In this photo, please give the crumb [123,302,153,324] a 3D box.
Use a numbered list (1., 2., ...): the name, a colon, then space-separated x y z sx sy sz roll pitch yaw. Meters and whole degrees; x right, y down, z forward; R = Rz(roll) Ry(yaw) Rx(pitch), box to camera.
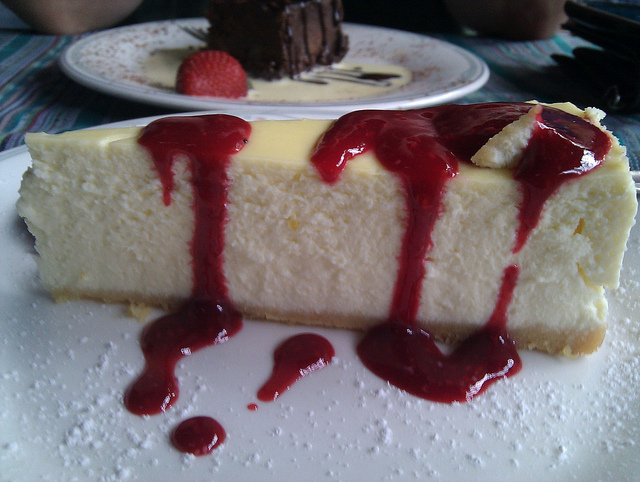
1. crumb: -0.457 0.176 1.725 0.048 0.014 0.050 5 36 -1
